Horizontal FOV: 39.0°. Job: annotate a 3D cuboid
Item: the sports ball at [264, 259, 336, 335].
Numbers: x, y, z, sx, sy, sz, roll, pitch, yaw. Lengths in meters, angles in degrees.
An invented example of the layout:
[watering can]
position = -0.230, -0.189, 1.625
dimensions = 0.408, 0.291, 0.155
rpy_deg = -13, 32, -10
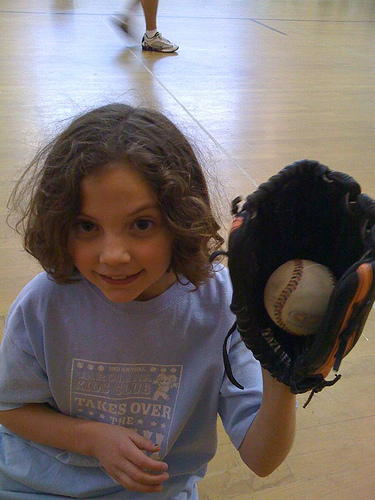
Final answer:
[sports ball]
position = 0.145, 0.059, 0.648
dimensions = 0.102, 0.080, 0.089
rpy_deg = -2, 18, 4
